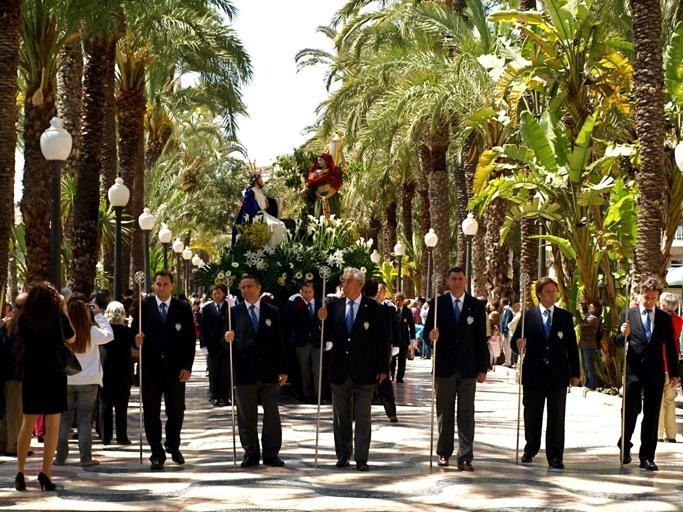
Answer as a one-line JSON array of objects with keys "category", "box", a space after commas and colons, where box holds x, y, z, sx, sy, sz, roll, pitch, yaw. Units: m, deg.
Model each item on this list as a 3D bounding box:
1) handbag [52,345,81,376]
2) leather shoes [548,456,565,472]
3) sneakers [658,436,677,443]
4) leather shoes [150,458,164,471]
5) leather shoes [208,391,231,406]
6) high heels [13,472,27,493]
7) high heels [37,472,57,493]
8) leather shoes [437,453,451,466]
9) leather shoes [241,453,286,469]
[{"category": "handbag", "box": [-3.594, 1.386, 13.029, 0.167, 0.396, 0.394, -18, -12, 9]}, {"category": "leather shoes", "box": [3.049, 2.945, 14.143, 0.108, 0.120, 0.270, -1, -21, -3]}, {"category": "sneakers", "box": [5.358, 3.036, 16.351, 0.306, 0.113, 0.219, 2, -13, 8]}, {"category": "leather shoes", "box": [-2.563, 2.915, 13.886, 0.088, 0.112, 0.269, 3, 2, -28]}, {"category": "leather shoes", "box": [-2.490, 2.958, 20.469, 0.176, 0.238, 0.513, -1, 5, -44]}, {"category": "high heels", "box": [-4.098, 2.907, 12.789, 0.122, 0.239, 0.141, 4, -9, -21]}, {"category": "high heels", "box": [-3.740, 2.902, 12.769, 0.116, 0.207, 0.376, 0, 0, 1]}, {"category": "leather shoes", "box": [1.470, 2.922, 14.181, 0.174, 0.191, 0.111, 4, -4, 12]}, {"category": "leather shoes", "box": [-1.079, 2.929, 14.131, 0.649, 0.308, 0.227, 5, -10, -2]}]
